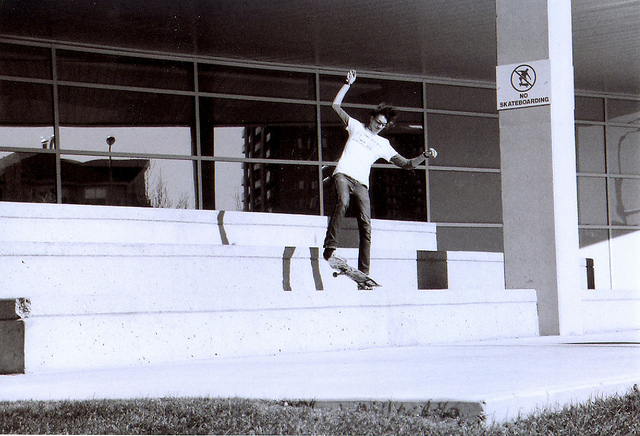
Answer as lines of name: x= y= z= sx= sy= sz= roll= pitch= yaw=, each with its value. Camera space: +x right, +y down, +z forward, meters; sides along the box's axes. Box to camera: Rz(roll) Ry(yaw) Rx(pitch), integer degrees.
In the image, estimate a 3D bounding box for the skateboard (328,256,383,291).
skateboard: x=0.539 y=0.909 z=20.068 sx=0.734 sy=0.204 sz=0.205 roll=31 pitch=-20 yaw=12
